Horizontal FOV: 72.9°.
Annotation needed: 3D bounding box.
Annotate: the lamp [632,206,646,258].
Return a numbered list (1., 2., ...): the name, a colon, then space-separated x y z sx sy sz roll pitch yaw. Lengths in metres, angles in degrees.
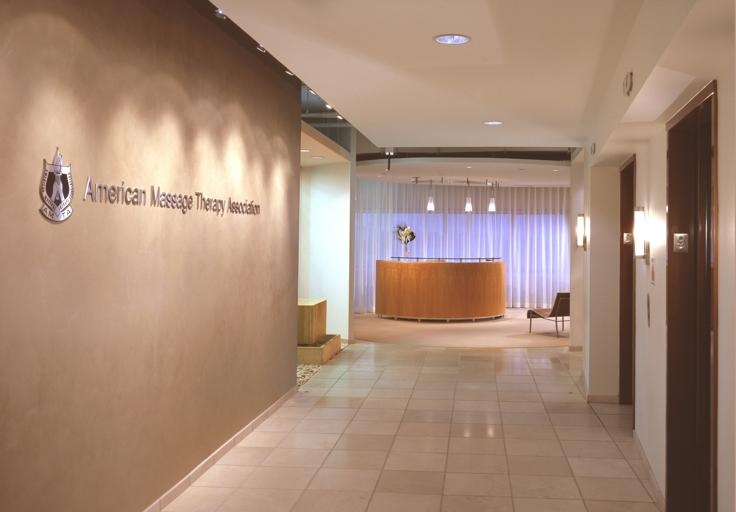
1. lamp: 2.295 -0.204 4.210 0.093 0.427 0.167 2 3 29

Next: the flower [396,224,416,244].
1. flower: 1.009 -0.582 13.591 0.531 0.572 0.550 -5 -8 34

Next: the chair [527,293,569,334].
1. chair: 3.850 1.148 10.313 0.829 0.861 0.959 0 -1 -17

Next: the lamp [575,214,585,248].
1. lamp: 2.880 -0.354 6.787 0.098 0.466 0.672 1 3 23
